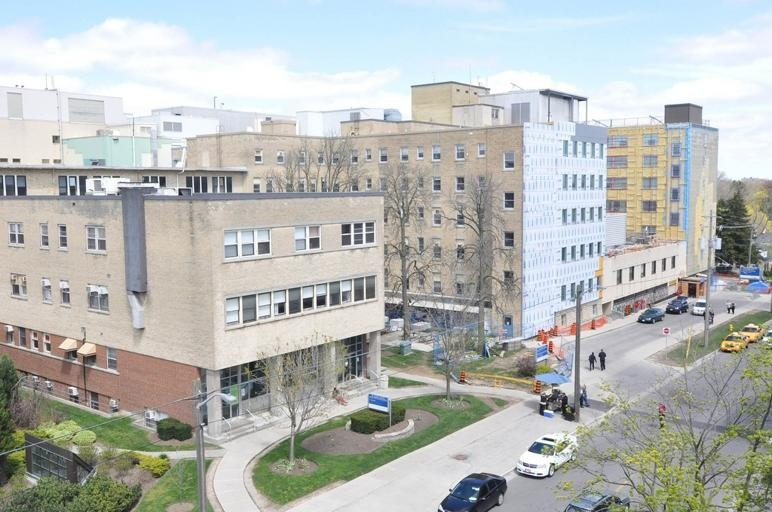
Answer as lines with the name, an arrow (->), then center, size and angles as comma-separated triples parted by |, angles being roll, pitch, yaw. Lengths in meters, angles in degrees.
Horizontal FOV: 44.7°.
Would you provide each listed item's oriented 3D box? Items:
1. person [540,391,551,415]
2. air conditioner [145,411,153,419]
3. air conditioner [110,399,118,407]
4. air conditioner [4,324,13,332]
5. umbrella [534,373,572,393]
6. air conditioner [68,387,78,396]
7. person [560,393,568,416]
person -> 13.149, 12.417, 78.152 | 0.859, 1.535, 1.298 | 8, 8, 10
air conditioner -> -19.000, 12.725, 75.303 | 0.884, 0.702, 0.207 | 10, 9, 27
air conditioner -> -22.461, 12.261, 77.492 | 0.800, 0.813, 0.245 | 9, 8, 14
air conditioner -> -33.870, 6.543, 84.471 | 0.800, 0.718, 0.454 | 5, -3, -15
umbrella -> 14.221, 10.796, 80.966 | 2.344, 1.564, 2.435 | -2, 4, -40
air conditioner -> -26.842, 11.578, 80.339 | 0.937, 0.596, 0.527 | 4, 3, 18
person -> 14.727, 12.477, 77.856 | 0.572, 1.585, 1.281 | 8, 8, 4
